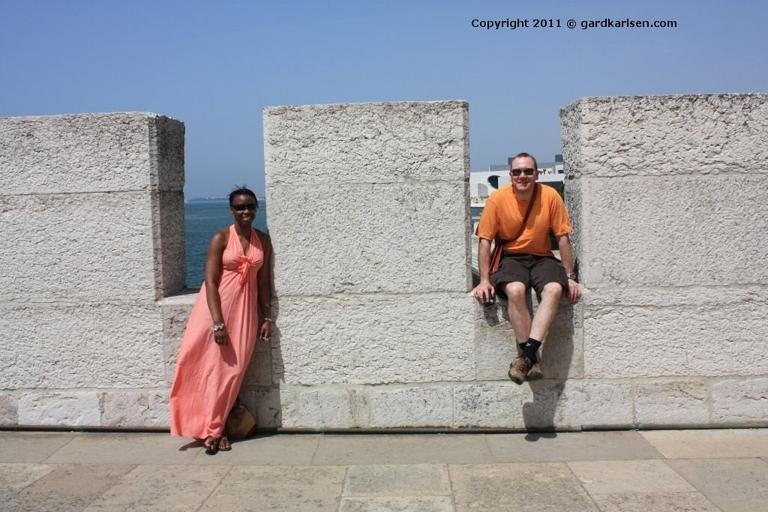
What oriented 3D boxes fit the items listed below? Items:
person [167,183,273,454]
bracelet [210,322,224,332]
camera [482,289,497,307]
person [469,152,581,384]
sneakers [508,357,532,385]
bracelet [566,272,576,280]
[{"bbox_3d":[-1.415,0.547,7.341,0.919,2.242,0.422,-9,11,-42],"label":"person"},{"bbox_3d":[-1.431,0.614,7.216,0.116,0.037,0.100,-4,2,-17],"label":"bracelet"},{"bbox_3d":[0.941,0.383,7.388,0.148,0.115,0.122,1,10,29],"label":"camera"},{"bbox_3d":[1.228,0.071,7.352,0.840,1.882,0.654,-9,11,-43],"label":"person"},{"bbox_3d":[1.141,0.965,7.041,0.134,0.123,0.315,-47,1,-18],"label":"sneakers"},{"bbox_3d":[1.648,0.187,7.411,0.065,0.028,0.079,2,13,3],"label":"bracelet"}]
